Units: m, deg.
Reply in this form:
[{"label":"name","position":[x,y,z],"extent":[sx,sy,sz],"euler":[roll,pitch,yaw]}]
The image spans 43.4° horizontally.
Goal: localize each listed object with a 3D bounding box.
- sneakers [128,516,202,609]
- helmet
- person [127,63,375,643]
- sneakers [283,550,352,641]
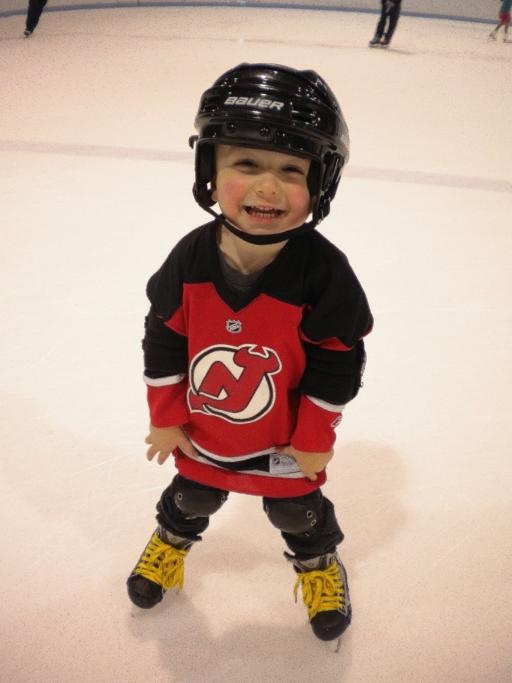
[{"label":"sneakers","position":[-0.218,0.562,1.710],"extent":[0.106,0.110,0.278],"euler":[41,21,-6]},{"label":"helmet","position":[0.047,-0.403,1.353],"extent":[0.316,0.249,0.340],"euler":[6,15,3]},{"label":"person","position":[-0.019,0.050,1.498],"extent":[0.614,1.229,0.428],"euler":[8,16,20]},{"label":"sneakers","position":[0.127,0.616,1.659],"extent":[0.108,0.185,0.284],"euler":[-31,14,12]}]
